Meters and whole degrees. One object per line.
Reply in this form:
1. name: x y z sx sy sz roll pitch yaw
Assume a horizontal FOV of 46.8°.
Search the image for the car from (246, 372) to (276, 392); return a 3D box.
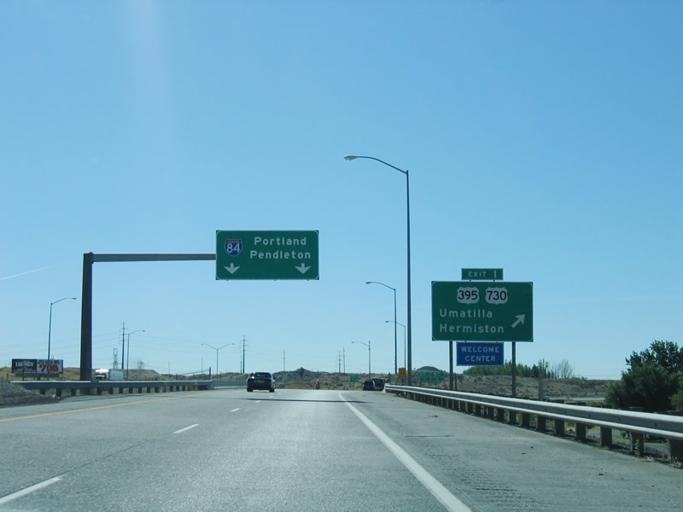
1. car: -5.359 8.231 51.990 1.743 1.134 1.820 2 -12 -8
